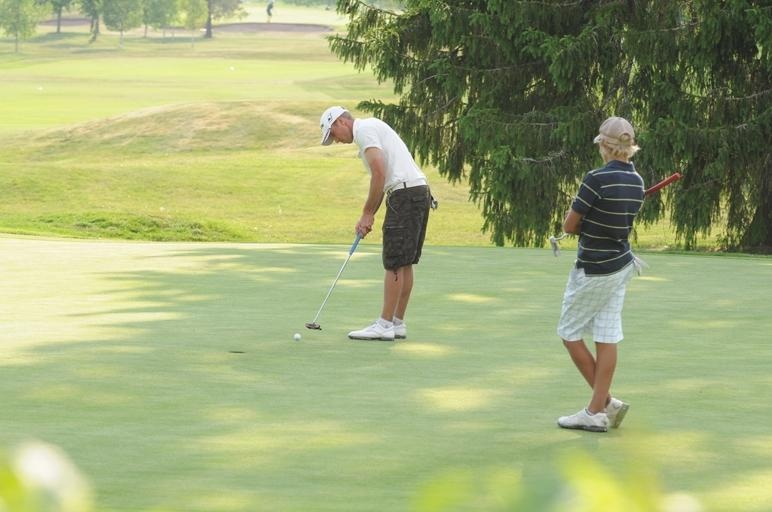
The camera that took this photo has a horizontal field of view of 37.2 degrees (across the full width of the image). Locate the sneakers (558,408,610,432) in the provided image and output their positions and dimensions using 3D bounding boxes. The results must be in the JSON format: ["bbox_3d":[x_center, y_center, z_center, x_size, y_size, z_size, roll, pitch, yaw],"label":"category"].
[{"bbox_3d":[1.939,1.626,11.234,0.487,0.172,0.205,4,-1,7],"label":"sneakers"}]

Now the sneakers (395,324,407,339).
[{"bbox_3d":[0.174,0.897,13.622,0.150,0.177,0.224,2,13,0],"label":"sneakers"}]

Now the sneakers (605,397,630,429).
[{"bbox_3d":[2.268,1.550,11.268,0.201,0.292,0.258,5,14,11],"label":"sneakers"}]

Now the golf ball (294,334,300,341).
[{"bbox_3d":[-1.018,0.971,13.366,0.062,0.058,0.074,-35,12,-27],"label":"golf ball"}]

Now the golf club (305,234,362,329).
[{"bbox_3d":[-0.777,0.427,16.930,0.258,1.288,0.155,30,-11,28],"label":"golf club"}]

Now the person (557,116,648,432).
[{"bbox_3d":[2.116,0.175,11.319,0.779,2.963,1.089,5,14,9],"label":"person"}]

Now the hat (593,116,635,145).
[{"bbox_3d":[2.278,-1.227,11.399,0.344,0.251,0.289,5,13,11],"label":"hat"}]

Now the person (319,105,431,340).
[{"bbox_3d":[-0.104,-0.393,13.787,1.291,2.642,1.234,4,14,7],"label":"person"}]
